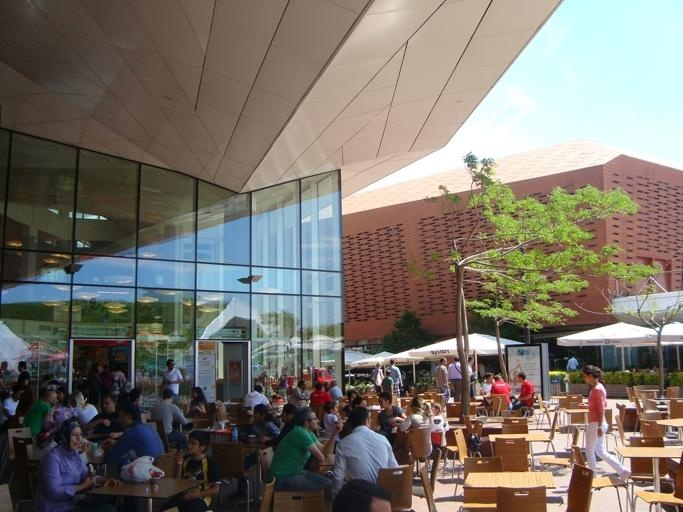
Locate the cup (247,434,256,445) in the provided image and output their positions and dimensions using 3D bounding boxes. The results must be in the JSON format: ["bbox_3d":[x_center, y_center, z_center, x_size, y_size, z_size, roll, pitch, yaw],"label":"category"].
[{"bbox_3d":[-1.685,3.489,9.779,0.164,0.154,0.154,0,-6,0],"label":"cup"}]

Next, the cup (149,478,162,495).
[{"bbox_3d":[-2.226,2.826,6.313,0.134,0.156,0.147,0,-15,0],"label":"cup"}]

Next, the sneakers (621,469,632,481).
[{"bbox_3d":[4.318,3.323,7.896,0.117,0.147,0.434,-10,-14,30],"label":"sneakers"}]
